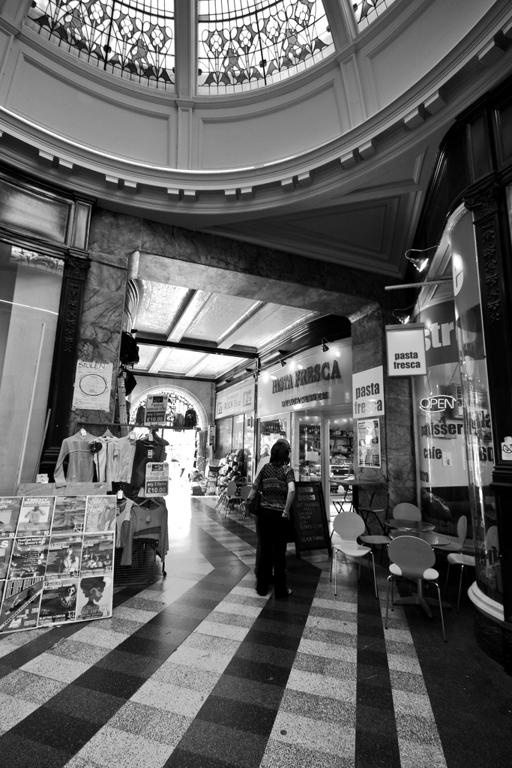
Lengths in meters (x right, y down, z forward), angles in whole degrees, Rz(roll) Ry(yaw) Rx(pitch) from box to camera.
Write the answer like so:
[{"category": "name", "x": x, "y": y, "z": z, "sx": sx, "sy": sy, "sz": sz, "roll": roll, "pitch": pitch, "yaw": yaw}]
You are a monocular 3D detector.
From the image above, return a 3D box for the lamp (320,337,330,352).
[{"category": "lamp", "x": 1.251, "y": -0.731, "z": 8.638, "sx": 0.054, "sy": 0.270, "sz": 0.311, "roll": 3, "pitch": -8, "yaw": -16}]

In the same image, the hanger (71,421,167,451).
[{"category": "hanger", "x": -1.353, "y": 0.513, "z": 4.520, "sx": 1.039, "sy": 0.130, "sz": 0.475, "roll": 7, "pitch": 9, "yaw": -21}]

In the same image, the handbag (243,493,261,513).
[{"category": "handbag", "x": -0.039, "y": 1.100, "z": 4.178, "sx": 0.063, "sy": 0.212, "sz": 0.134, "roll": 9, "pitch": -6, "yaw": -28}]

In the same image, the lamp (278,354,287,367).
[{"category": "lamp", "x": 0.589, "y": -0.560, "z": 10.606, "sx": 0.227, "sy": 0.133, "sz": 0.176, "roll": -6, "pitch": -25, "yaw": -4}]

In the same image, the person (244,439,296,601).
[{"category": "person", "x": 0.117, "y": 1.227, "z": 4.226, "sx": 0.402, "sy": 1.409, "sz": 0.577, "roll": 1, "pitch": -7, "yaw": 1}]

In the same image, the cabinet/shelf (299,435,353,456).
[{"category": "cabinet/shelf", "x": 1.505, "y": 1.297, "z": 9.706, "sx": 0.928, "sy": 0.623, "sz": 0.676, "roll": 3, "pitch": -2, "yaw": -23}]

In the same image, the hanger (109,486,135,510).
[{"category": "hanger", "x": -1.375, "y": 1.163, "z": 4.801, "sx": 0.239, "sy": 0.428, "sz": 0.146, "roll": 0, "pitch": -4, "yaw": 6}]

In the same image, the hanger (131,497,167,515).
[{"category": "hanger", "x": -1.048, "y": 1.200, "z": 4.566, "sx": 0.171, "sy": 0.265, "sz": 0.218, "roll": -9, "pitch": -17, "yaw": 41}]

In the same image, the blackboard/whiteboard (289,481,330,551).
[{"category": "blackboard/whiteboard", "x": 0.711, "y": 1.691, "z": 5.969, "sx": 0.505, "sy": 0.941, "sz": 0.553, "roll": -11, "pitch": 6, "yaw": 20}]
